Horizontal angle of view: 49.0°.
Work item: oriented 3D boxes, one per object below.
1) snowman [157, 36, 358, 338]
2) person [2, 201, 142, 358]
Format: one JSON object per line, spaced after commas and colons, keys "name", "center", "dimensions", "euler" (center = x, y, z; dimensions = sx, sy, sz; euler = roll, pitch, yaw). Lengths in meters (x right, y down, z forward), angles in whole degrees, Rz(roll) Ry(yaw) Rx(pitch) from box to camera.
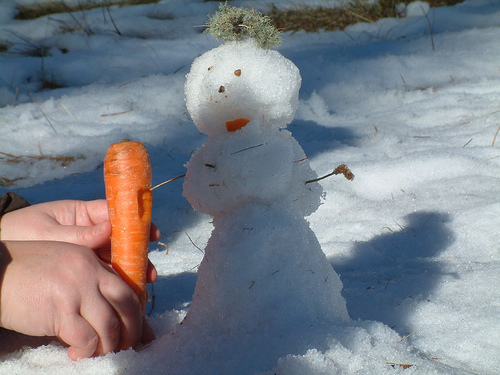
{"name": "snowman", "center": [0.039, 0.170, 3.592], "dimensions": [0.986, 2.105, 1.477], "euler": [-1, 21, 0]}
{"name": "person", "center": [-1.185, 0.622, 3.453], "dimensions": [0.781, 0.806, 0.817], "euler": [-19, 26, -16]}
